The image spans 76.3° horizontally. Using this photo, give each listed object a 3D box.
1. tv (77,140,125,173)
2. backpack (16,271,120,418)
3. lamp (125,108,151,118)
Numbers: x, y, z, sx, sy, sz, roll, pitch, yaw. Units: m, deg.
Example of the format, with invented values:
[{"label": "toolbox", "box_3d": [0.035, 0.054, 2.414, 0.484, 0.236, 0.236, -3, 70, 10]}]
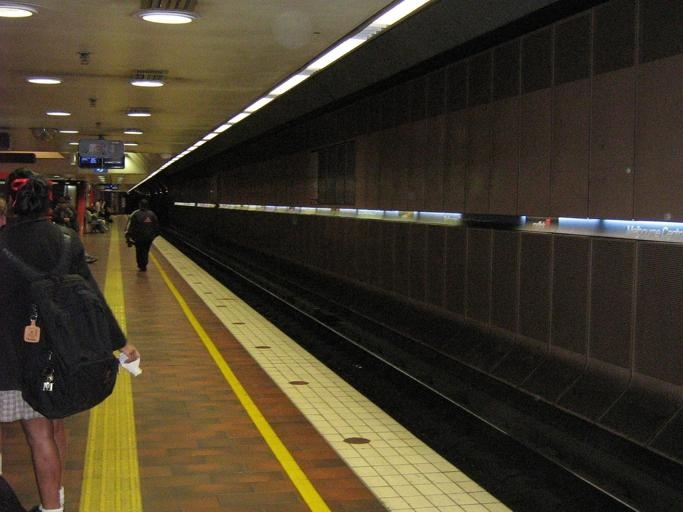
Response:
[{"label": "tv", "box_3d": [-8.303, -3.490, 15.043, 1.882, 1.055, 0.220, 2, 4, -2]}, {"label": "backpack", "box_3d": [-1.130, 0.367, 1.832, 0.342, 0.583, 0.191, 4, 0, -31]}, {"label": "lamp", "box_3d": [-4.849, -3.470, 10.500, 0.372, 0.077, 0.368, -1, 3, -33]}]
